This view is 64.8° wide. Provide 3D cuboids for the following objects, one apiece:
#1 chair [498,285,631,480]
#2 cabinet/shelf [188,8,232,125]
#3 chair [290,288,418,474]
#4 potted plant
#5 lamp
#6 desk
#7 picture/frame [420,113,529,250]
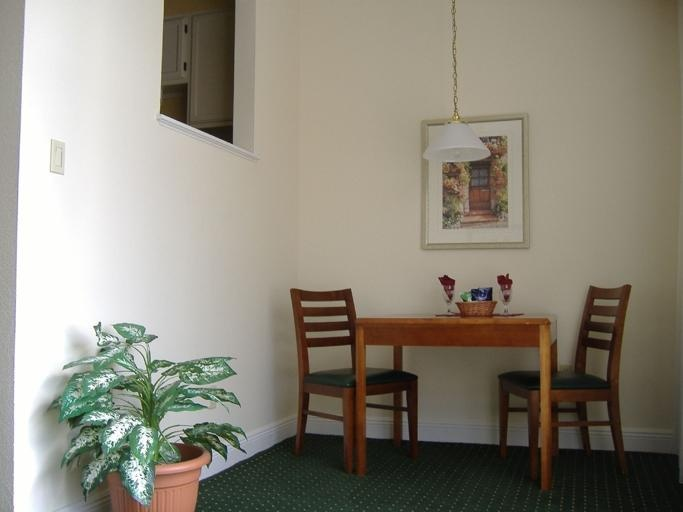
[{"bbox_3d":[1.423,0.771,3.464,0.672,1.155,0.668,1,-3,-11],"label":"chair"},{"bbox_3d":[-1.093,-1.562,4.513,0.402,1.004,0.137,0,1,7],"label":"cabinet/shelf"},{"bbox_3d":[0.078,0.775,3.632,0.627,1.164,0.739,2,-8,-30],"label":"chair"},{"bbox_3d":[-0.903,0.713,2.540,0.791,0.801,0.854,-1,1,-1],"label":"potted plant"},{"bbox_3d":[0.773,-1.272,3.673,0.443,1.305,0.811,0,0,15],"label":"lamp"},{"bbox_3d":[0.690,0.831,3.309,1.151,0.947,0.663,0,0,22],"label":"desk"},{"bbox_3d":[0.990,-0.509,3.885,0.858,1.196,0.055,-1,-5,15],"label":"picture/frame"}]
